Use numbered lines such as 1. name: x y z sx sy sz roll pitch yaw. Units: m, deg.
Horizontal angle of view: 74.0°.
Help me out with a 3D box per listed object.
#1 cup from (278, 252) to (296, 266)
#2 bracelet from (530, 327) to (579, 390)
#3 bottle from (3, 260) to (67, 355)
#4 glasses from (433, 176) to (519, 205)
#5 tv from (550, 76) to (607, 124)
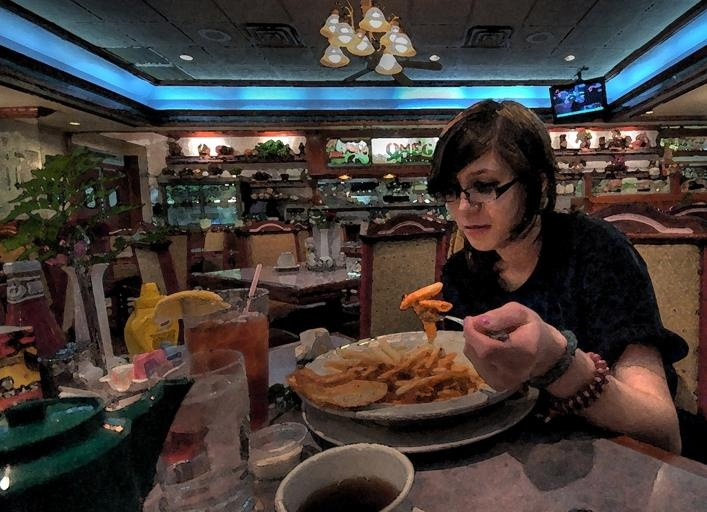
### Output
1. cup: -0.528 0.030 3.766 0.159 0.109 0.130 6 -2 -3
2. bracelet: 0.543 0.265 1.253 0.132 0.061 0.153 -10 33 49
3. bottle: -0.847 0.141 1.231 0.121 0.259 0.202 -9 8 -30
4. glasses: 0.404 -0.202 1.494 0.130 0.032 0.125 -24 15 -34
5. tv: 3.362 -2.366 7.012 0.813 0.498 0.107 -3 23 43
